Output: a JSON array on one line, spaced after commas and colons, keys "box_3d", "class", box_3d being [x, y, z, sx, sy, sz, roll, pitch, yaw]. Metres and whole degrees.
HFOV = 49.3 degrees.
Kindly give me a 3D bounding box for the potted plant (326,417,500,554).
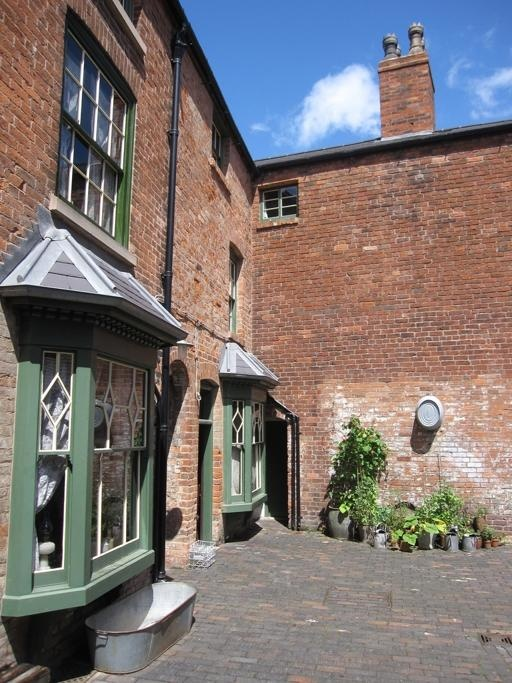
[{"box_3d": [2.541, 2.716, 9.678, 2.848, 2.751, 1.780, 6, 1, 24], "class": "potted plant"}]
